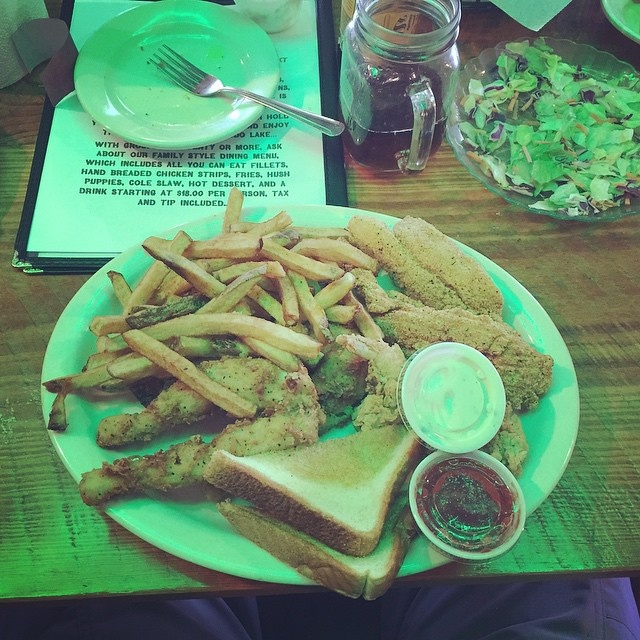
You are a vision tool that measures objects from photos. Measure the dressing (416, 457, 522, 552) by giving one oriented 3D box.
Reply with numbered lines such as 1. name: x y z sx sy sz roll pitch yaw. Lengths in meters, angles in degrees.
1. dressing: 0.263 0.336 1.196 0.199 0.020 0.182 -6 69 -2
